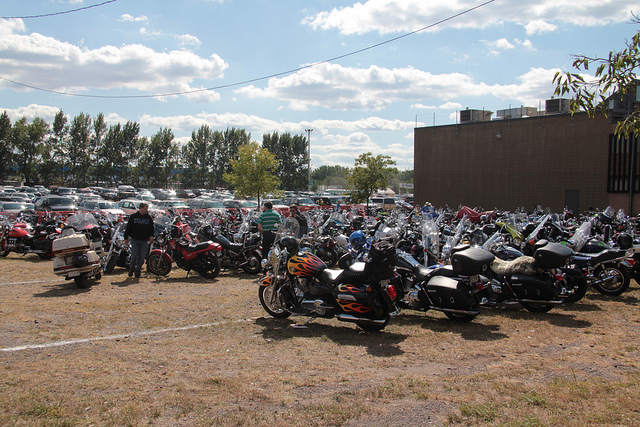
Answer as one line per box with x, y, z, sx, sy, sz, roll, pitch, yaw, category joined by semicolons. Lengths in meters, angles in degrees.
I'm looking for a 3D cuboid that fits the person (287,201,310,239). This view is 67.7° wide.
-0.578;0.193;12.919;0.620;0.673;1.241;-10;32;-16;person

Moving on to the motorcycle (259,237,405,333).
-0.032;1.460;10.010;3.518;1.799;1.526;0;8;35;motorcycle

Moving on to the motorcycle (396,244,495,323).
2.806;1.449;10.295;2.521;1.324;1.307;-1;1;44;motorcycle

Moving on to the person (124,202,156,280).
-5.471;0.818;14.388;0.780;2.328;1.090;1;10;5;person

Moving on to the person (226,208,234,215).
-4.571;-0.102;24.133;0.583;0.202;0.730;3;-7;-12;person

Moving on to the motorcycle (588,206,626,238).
9.160;0.200;15.095;0.977;0.957;1.816;-7;-10;41;motorcycle

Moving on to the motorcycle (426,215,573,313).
4.080;1.415;11.286;3.476;1.787;1.493;-8;-5;41;motorcycle

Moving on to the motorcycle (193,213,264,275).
-2.929;1.068;15.147;2.793;1.762;1.547;2;10;29;motorcycle

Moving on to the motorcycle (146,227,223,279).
-4.096;1.158;14.583;2.609;1.510;1.108;3;9;22;motorcycle

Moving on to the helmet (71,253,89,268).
-6.480;1.286;12.871;0.396;0.287;0.370;-10;20;49;helmet

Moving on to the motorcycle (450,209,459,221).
6.259;0.069;22.197;0.182;0.710;0.664;-2;-14;25;motorcycle

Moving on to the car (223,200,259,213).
-5.268;-0.491;31.508;2.454;1.002;1.345;-1;3;41;car

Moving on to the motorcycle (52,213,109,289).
-7.092;0.992;14.244;1.457;1.714;3.311;-10;5;-16;motorcycle

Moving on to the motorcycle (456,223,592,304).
4.501;1.259;11.617;3.520;1.805;1.688;6;11;26;motorcycle

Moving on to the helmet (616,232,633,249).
7.412;0.658;11.562;0.340;0.365;0.238;3;10;21;helmet

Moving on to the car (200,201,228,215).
-6.243;-0.359;27.620;1.849;0.804;1.073;-6;8;-29;car

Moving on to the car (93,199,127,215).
-13.023;-0.404;29.657;1.211;0.817;2.589;-10;19;-42;car

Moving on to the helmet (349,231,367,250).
0.781;0.546;10.010;0.413;0.365;0.301;5;-5;-28;helmet

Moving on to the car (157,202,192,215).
-8.862;-0.337;28.922;1.954;0.626;0.952;9;9;41;car
